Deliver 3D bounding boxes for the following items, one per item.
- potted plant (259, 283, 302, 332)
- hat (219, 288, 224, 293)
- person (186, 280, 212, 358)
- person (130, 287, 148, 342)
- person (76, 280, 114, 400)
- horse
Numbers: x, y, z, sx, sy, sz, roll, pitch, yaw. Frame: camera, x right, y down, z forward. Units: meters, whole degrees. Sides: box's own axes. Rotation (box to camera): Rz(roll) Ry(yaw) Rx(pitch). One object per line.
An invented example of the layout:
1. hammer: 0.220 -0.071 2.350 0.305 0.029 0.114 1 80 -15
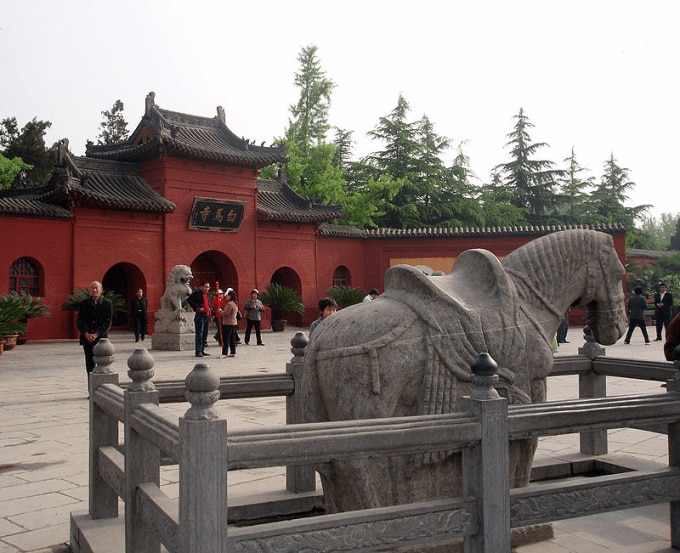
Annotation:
1. potted plant: -1.703 0.900 20.304 0.983 1.254 0.976 6 4 40
2. hat: -3.018 0.376 18.024 0.175 0.101 0.261 2 -5 -6
3. person: -2.596 0.790 12.980 0.366 1.324 1.114 0 -1 -12
4. person: -4.693 0.927 16.598 0.263 1.168 1.618 0 0 -17
5. person: -2.657 0.547 7.670 0.331 0.970 0.815 0 -1 -21
6. horse: 0.728 0.457 3.681 1.818 1.463 0.612 -2 6 -22
